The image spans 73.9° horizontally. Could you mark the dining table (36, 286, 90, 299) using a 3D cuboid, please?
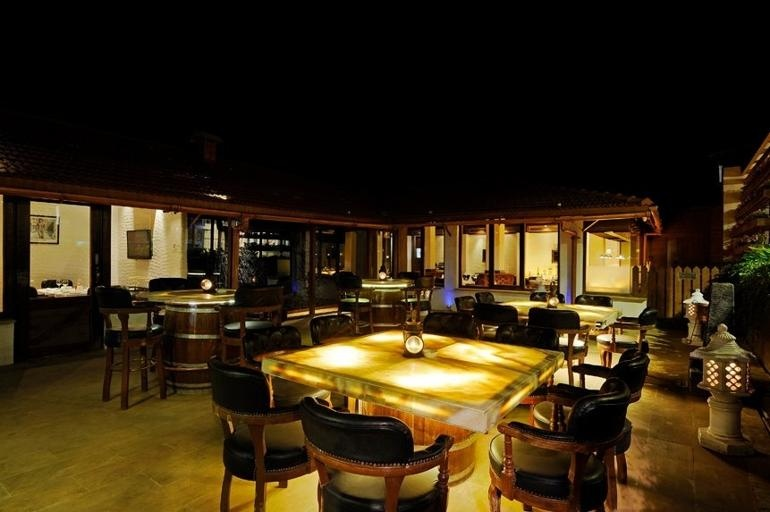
[{"bbox_3d":[-6.761,0.749,10.767,0.897,0.228,0.813,0,-2,-35],"label":"dining table"}]

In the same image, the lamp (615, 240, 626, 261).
[{"bbox_3d":[8.310,-0.189,18.020,0.250,0.671,0.441,-2,-1,16],"label":"lamp"}]

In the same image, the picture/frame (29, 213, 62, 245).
[{"bbox_3d":[-7.482,-0.593,11.230,0.756,0.709,0.050,5,1,-42],"label":"picture/frame"}]

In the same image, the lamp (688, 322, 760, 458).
[{"bbox_3d":[4.972,1.938,7.517,0.737,2.117,0.465,-2,-1,24],"label":"lamp"}]
